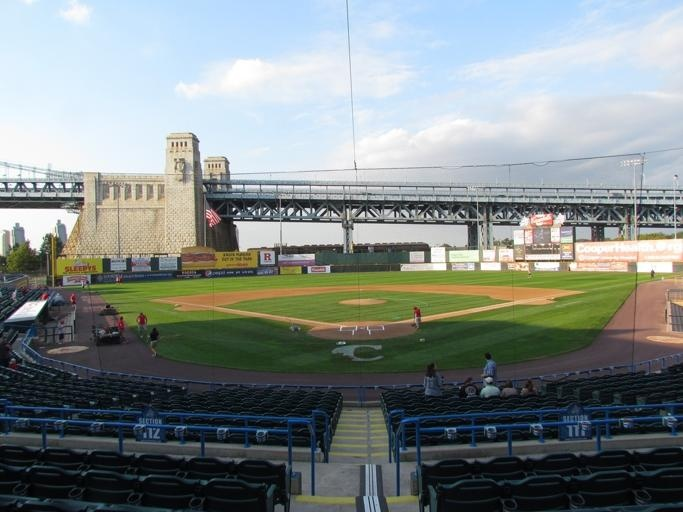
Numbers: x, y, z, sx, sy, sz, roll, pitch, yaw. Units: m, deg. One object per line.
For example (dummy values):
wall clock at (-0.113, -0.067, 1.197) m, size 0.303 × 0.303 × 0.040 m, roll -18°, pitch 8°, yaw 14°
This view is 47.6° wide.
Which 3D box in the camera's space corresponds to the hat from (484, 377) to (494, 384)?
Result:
hat at (5.090, 4.263, 26.755) m, size 0.265 × 0.108 × 0.332 m, roll -3°, pitch -3°, yaw 17°
